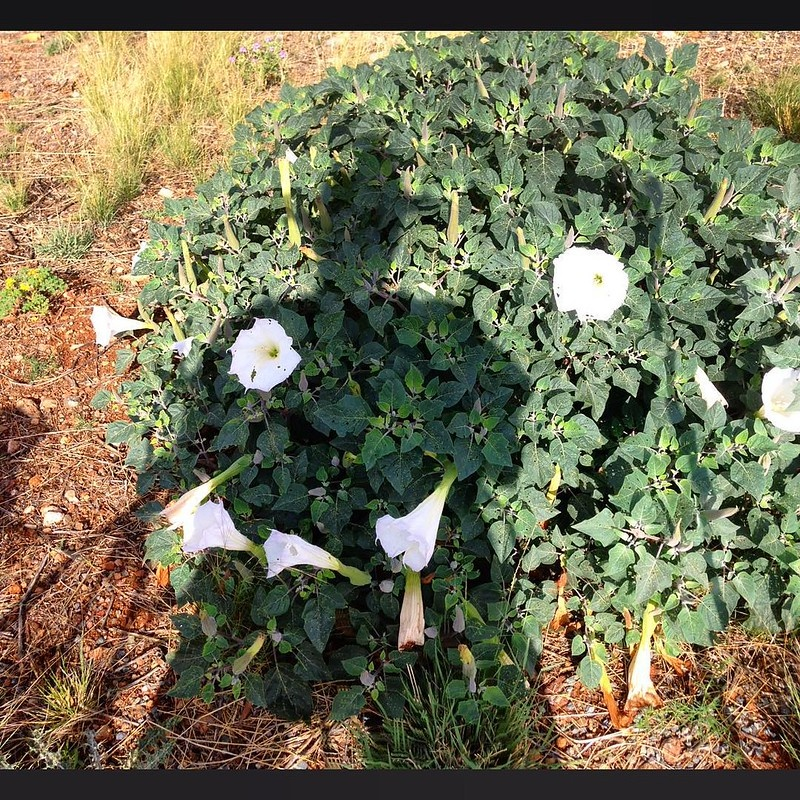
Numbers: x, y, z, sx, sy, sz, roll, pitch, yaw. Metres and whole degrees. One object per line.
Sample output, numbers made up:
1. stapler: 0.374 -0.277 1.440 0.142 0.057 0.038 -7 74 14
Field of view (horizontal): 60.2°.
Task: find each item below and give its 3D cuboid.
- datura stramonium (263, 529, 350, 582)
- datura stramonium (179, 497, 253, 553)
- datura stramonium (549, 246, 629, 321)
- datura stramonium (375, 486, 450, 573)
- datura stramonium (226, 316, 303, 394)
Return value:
1. datura stramonium: -0.288 0.436 1.991 0.232 0.105 0.126 22 31 -43
2. datura stramonium: -0.516 0.381 2.026 0.192 0.155 0.091 32 6 -4
3. datura stramonium: 0.533 -0.300 1.914 0.030 0.145 0.160 58 -6 6
4. datura stramonium: 0.057 0.371 1.911 0.156 0.099 0.243 28 9 12
5. datura stramonium: -0.410 -0.090 2.081 0.200 0.278 0.191 -11 46 -12
